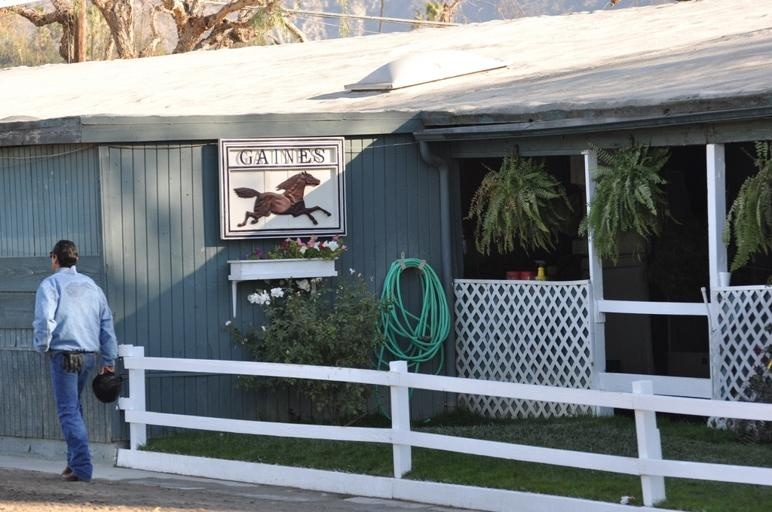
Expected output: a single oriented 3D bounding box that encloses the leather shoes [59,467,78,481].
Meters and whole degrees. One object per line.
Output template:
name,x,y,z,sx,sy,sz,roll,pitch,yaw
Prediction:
leather shoes,-3.809,2.584,17.139,0.125,0.179,0.061,-45,-14,20
